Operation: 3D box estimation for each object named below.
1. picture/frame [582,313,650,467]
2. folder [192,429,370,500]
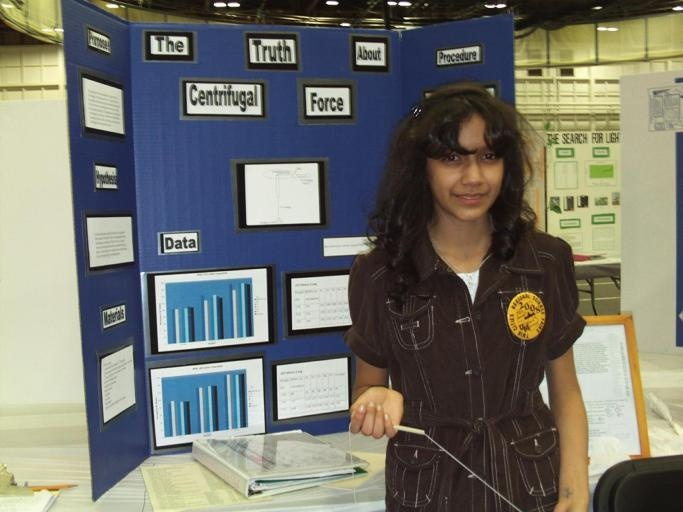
[{"bbox_3d":[1.099,0.515,2.396,0.324,0.528,0.114,-3,-9,-1],"label":"picture/frame"},{"bbox_3d":[-0.281,0.835,2.426,0.586,0.093,0.537,-6,8,-25],"label":"folder"}]
